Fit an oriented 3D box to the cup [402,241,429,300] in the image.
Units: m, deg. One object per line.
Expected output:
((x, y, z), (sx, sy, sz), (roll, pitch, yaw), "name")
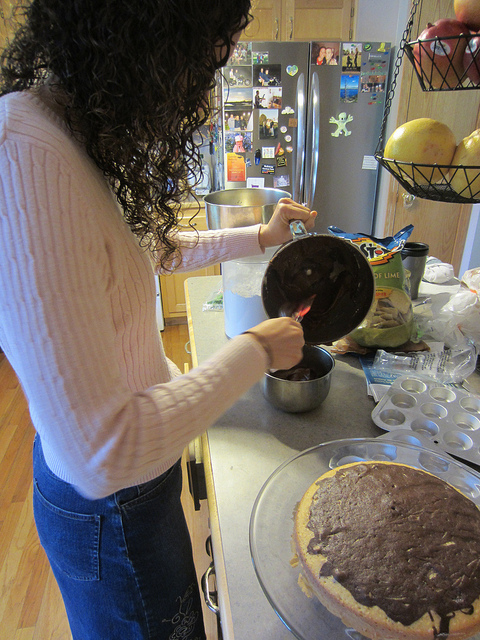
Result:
((0.500, -0.144, 1.323), (0.116, 0.142, 0.094), (-24, 27, -39), "cup")

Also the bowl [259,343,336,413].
((0.106, 0.121, 0.893), (0.142, 0.082, 0.157), (15, 21, 39), "bowl")

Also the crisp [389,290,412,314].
((0.359, -0.040, 1.033), (0.051, 0.056, 0.012), (-4, 24, -10), "crisp")

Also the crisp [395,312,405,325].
((0.361, -0.002, 1.037), (0.017, 0.023, 0.006), (-7, -8, -35), "crisp")

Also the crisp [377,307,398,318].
((0.333, -0.021, 1.035), (0.032, 0.020, 0.009), (5, -7, 5), "crisp")

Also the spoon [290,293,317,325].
((0.115, -0.023, 0.817), (0.026, 0.014, 0.079), (17, 56, 29), "spoon")

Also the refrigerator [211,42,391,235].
((0.456, -1.304, 3.138), (0.944, 1.703, 0.616), (2, 67, 9), "refrigerator")

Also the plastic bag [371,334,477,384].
((0.384, 0.054, 1.062), (0.254, 0.078, 0.236), (0, 20, -2), "plastic bag")
